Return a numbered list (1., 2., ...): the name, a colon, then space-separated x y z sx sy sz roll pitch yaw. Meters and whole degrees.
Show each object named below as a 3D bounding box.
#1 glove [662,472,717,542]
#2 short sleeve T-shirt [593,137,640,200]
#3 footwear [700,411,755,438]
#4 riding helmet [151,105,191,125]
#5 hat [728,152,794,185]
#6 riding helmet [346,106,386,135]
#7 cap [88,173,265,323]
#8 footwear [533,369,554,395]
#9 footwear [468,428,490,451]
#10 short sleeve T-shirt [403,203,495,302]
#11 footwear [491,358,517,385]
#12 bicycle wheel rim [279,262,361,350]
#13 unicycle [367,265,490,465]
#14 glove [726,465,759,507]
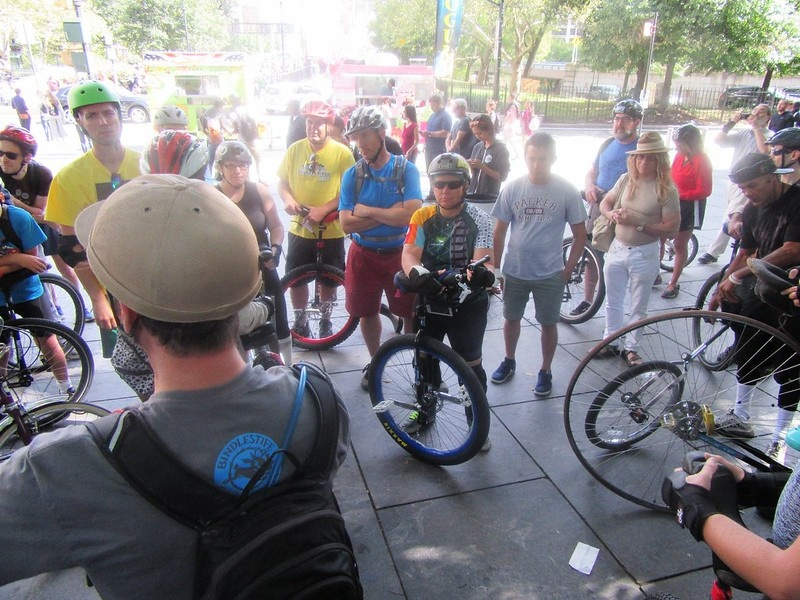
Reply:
1. glove: 1.203 0.850 2.423 0.169 0.123 0.275 1 25 -20
2. short sleeve T-shirt: 2.352 -1.417 6.124 0.381 0.723 0.732 2 23 0
3. footwear: 2.049 0.784 3.539 0.431 0.185 0.161 12 -6 -31
4. riding helmet: -2.027 -1.634 4.993 0.252 0.148 0.199 11 26 27
5. hat: 2.741 -1.013 4.323 0.368 0.211 0.245 -20 13 3
6. riding helmet: -0.271 -1.477 4.591 0.194 0.155 0.293 24 47 31
7. cap: -0.727 -0.168 1.824 0.528 0.414 0.290 -4 25 -15
8. footwear: 1.281 0.736 5.067 0.095 0.122 0.293 4 11 21
9. footwear: 0.634 1.054 4.343 0.135 0.160 0.148 0 3 42
10. short sleeve T-shirt: 0.370 -0.502 4.334 0.850 0.759 0.454 3 20 7
11. footwear: 0.990 0.614 5.307 0.119 0.174 0.356 25 39 38
12. bicycle wheel rim: -0.768 -0.069 6.034 0.797 0.900 0.832 5 18 3
13. unicycle: 0.226 0.509 4.277 0.923 1.508 0.811 17 30 34
14. glove: 1.572 0.851 2.643 0.075 0.235 0.165 -3 -8 16
